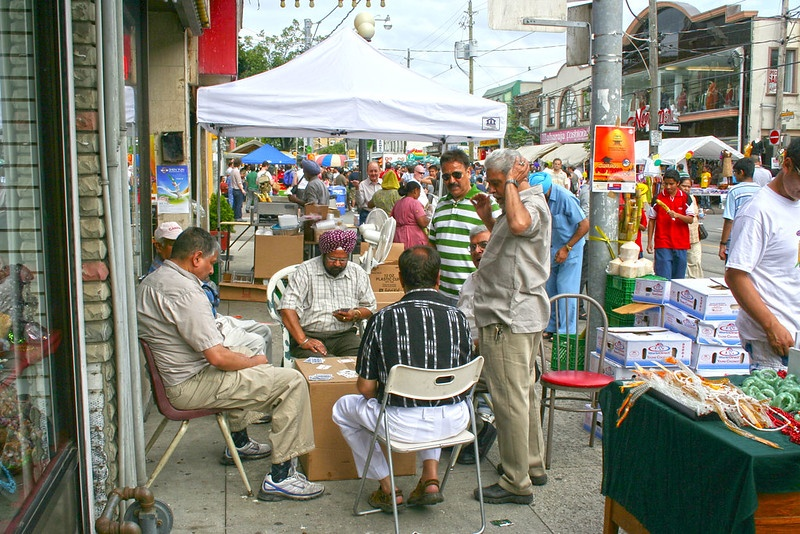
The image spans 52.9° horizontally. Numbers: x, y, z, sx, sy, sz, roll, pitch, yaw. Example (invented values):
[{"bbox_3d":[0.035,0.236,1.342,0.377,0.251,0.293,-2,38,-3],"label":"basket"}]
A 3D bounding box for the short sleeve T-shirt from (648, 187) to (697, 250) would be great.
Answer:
[{"bbox_3d":[3.487,-0.606,10.322,0.594,0.775,0.391,2,19,25],"label":"short sleeve T-shirt"}]

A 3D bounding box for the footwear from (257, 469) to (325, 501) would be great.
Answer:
[{"bbox_3d":[-0.777,1.604,5.872,0.496,0.234,0.180,0,2,-8],"label":"footwear"}]

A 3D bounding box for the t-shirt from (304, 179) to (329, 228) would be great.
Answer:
[{"bbox_3d":[-1.270,-1.104,12.849,0.246,0.544,0.626,0,14,16],"label":"t-shirt"}]

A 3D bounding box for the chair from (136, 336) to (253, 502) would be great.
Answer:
[{"bbox_3d":[-1.506,1.058,5.963,0.829,1.006,0.777,7,9,4],"label":"chair"}]

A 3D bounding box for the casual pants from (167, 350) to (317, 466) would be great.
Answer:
[{"bbox_3d":[-1.105,0.941,5.797,0.788,0.551,0.793,-6,2,-16],"label":"casual pants"}]

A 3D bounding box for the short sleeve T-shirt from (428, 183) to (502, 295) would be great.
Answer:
[{"bbox_3d":[0.567,-0.210,6.785,0.377,0.913,0.948,-3,6,-42],"label":"short sleeve T-shirt"}]

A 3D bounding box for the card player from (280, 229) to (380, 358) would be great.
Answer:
[{"bbox_3d":[-0.560,0.240,6.812,0.864,1.143,0.729,-1,9,-31],"label":"card player"}]

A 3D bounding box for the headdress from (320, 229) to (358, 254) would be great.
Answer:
[{"bbox_3d":[-0.525,-0.215,6.790,0.212,0.148,0.247,0,4,-3],"label":"headdress"}]

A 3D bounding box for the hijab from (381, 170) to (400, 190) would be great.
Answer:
[{"bbox_3d":[-0.087,-1.263,11.782,0.300,0.305,0.268,2,-1,-33],"label":"hijab"}]

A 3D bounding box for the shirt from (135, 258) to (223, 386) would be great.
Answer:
[{"bbox_3d":[-1.601,0.415,5.860,0.504,0.854,0.889,-21,17,-39],"label":"shirt"}]

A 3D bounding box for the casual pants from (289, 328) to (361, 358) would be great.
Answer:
[{"bbox_3d":[-0.605,0.654,6.781,0.447,0.136,0.260,2,4,-18],"label":"casual pants"}]

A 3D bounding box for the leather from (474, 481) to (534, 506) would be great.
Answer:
[{"bbox_3d":[0.742,1.651,5.770,0.480,0.216,0.179,5,-7,0],"label":"leather"}]

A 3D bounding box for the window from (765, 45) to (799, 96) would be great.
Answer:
[{"bbox_3d":[15.195,-7.776,31.781,1.527,1.830,0.687,-13,15,-40],"label":"window"}]

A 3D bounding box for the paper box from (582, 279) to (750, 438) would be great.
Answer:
[{"bbox_3d":[2.279,0.672,6.947,1.235,1.015,1.486,-2,7,-18],"label":"paper box"}]

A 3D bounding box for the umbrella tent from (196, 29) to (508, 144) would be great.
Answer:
[{"bbox_3d":[-0.709,-2.307,10.444,3.910,1.382,4.169,0,7,-20],"label":"umbrella tent"}]

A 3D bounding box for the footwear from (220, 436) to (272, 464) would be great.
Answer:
[{"bbox_3d":[-1.171,1.452,6.296,0.431,0.198,0.159,-5,5,-16],"label":"footwear"}]

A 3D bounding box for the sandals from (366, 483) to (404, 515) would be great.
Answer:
[{"bbox_3d":[-0.104,1.657,5.725,0.128,0.148,0.277,-4,7,-42],"label":"sandals"}]

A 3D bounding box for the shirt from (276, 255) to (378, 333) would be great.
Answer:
[{"bbox_3d":[-0.571,0.238,6.908,0.858,0.672,0.475,3,18,-1],"label":"shirt"}]

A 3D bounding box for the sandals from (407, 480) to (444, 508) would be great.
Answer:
[{"bbox_3d":[0.184,1.580,5.578,0.132,0.141,0.285,1,-3,-17],"label":"sandals"}]

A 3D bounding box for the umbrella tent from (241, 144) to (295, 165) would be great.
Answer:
[{"bbox_3d":[-4.034,-3.368,24.514,1.149,0.499,1.158,-1,-1,-8],"label":"umbrella tent"}]
